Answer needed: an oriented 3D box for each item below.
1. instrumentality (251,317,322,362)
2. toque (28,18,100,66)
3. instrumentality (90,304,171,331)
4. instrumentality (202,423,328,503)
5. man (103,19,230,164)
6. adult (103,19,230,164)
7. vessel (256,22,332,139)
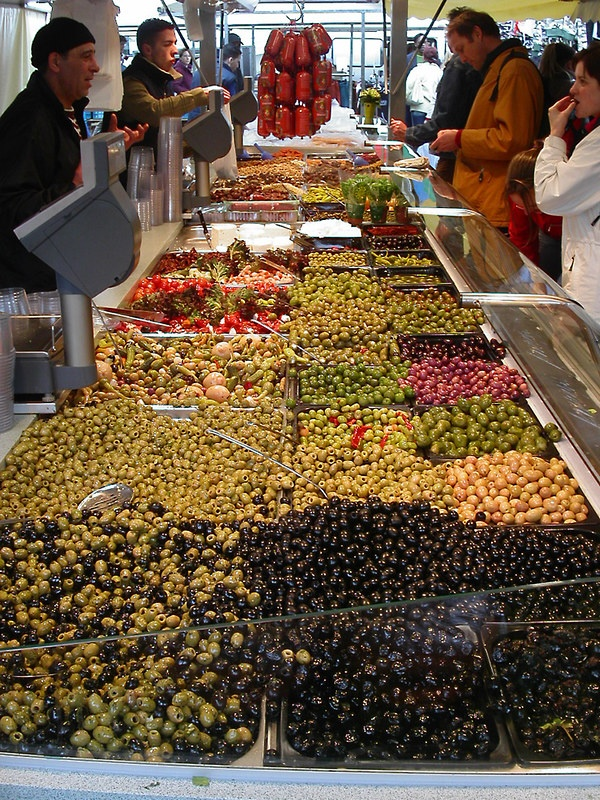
[{"bbox_3d":[-0.074,-0.347,3.727,0.507,0.052,0.074,33,67,29],"label":"instrumentality"},{"bbox_3d":[-1.413,-2.127,3.774,0.355,0.294,0.211,-6,22,-18],"label":"toque"},{"bbox_3d":[-0.999,-0.489,3.746,0.357,0.075,0.200,5,20,-23],"label":"instrumentality"},{"bbox_3d":[-0.156,0.261,2.538,0.477,0.052,0.069,27,-13,8],"label":"instrumentality"},{"bbox_3d":[-1.315,-2.945,6.703,1.156,1.798,0.897,16,36,20],"label":"man"},{"bbox_3d":[-1.348,-2.945,6.688,1.122,1.748,0.880,11,34,9],"label":"adult"},{"bbox_3d":[-0.060,-3.763,7.480,0.867,1.212,0.539,0,21,-4],"label":"vessel"}]
